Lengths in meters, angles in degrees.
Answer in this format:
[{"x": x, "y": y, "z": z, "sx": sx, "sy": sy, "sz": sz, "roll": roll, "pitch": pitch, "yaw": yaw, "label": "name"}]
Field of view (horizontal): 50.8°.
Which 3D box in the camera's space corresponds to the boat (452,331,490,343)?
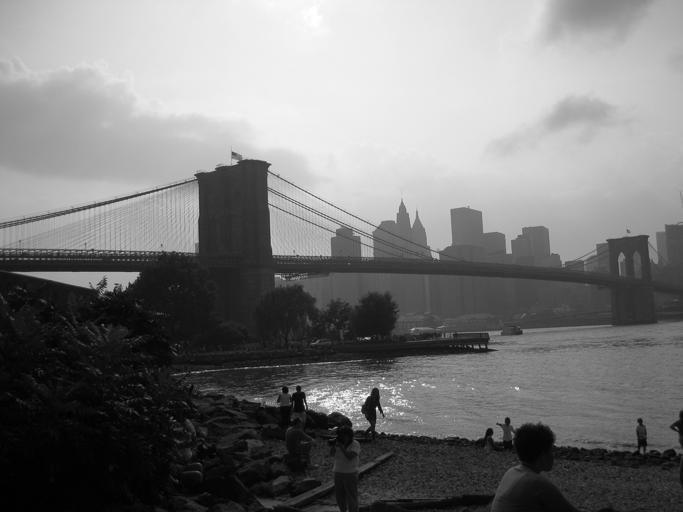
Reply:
[{"x": 13.611, "y": 8.561, "z": 76.014, "sx": 3.165, "sy": 0.775, "sz": 2.992, "roll": -1, "pitch": -2, "yaw": -32, "label": "boat"}]
